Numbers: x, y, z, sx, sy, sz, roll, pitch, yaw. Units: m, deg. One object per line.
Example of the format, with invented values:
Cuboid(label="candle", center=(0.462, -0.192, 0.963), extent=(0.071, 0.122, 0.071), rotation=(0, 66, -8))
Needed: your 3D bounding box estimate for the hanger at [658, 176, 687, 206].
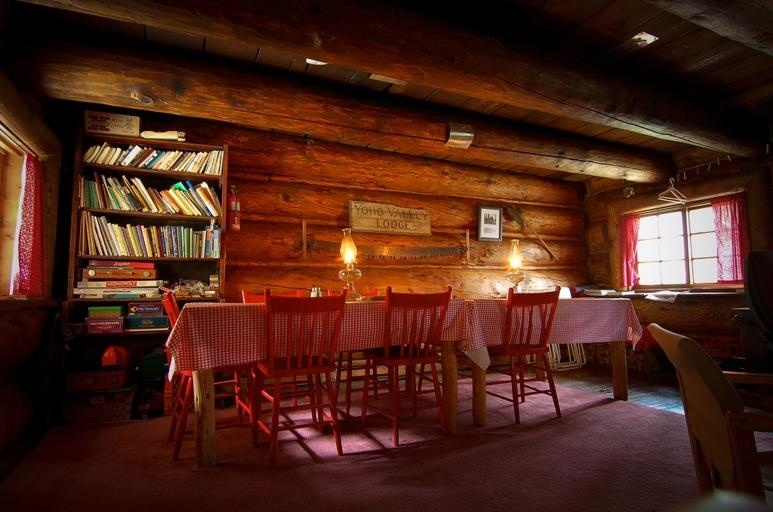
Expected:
Cuboid(label="hanger", center=(3.611, -0.798, 6.334), extent=(0.384, 0.298, 0.404), rotation=(-5, 6, -32))

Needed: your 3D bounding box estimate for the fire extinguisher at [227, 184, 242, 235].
Cuboid(label="fire extinguisher", center=(-1.613, -0.490, 5.343), extent=(0.128, 0.503, 0.273), rotation=(-2, 6, -14))

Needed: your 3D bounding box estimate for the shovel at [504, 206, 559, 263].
Cuboid(label="shovel", center=(2.017, -0.293, 6.960), extent=(0.756, 0.768, 0.162), rotation=(-3, 7, -23))

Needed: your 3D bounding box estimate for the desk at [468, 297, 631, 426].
Cuboid(label="desk", center=(1.465, 0.828, 4.839), extent=(1.442, 0.652, 1.539), rotation=(1, -3, -18))
